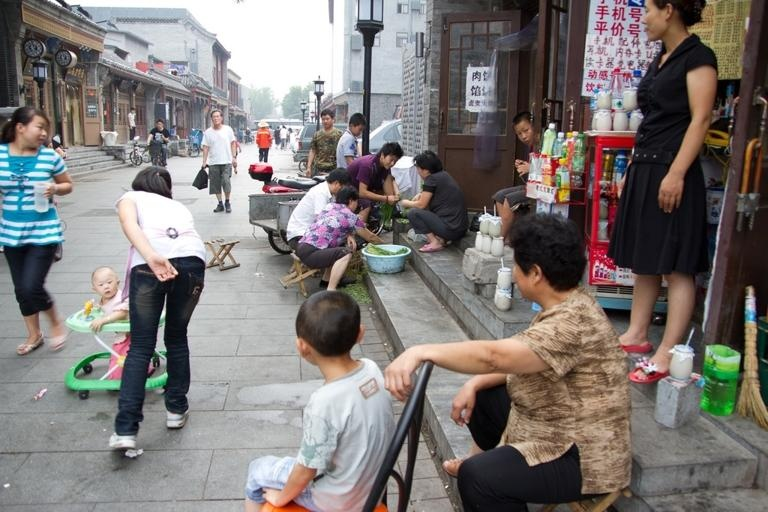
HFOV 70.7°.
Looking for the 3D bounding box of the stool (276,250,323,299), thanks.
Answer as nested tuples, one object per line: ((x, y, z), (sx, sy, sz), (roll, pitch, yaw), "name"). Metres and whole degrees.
((-1.057, 0.240, 6.739), (0.491, 0.525, 0.547), (-1, 25, -17), "stool")

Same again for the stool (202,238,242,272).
((-2.251, -0.007, 7.628), (0.503, 0.444, 0.578), (-3, 8, -34), "stool")

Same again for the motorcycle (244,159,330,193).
((-1.587, -1.177, 8.741), (1.351, 0.750, 0.603), (-5, 22, -13), "motorcycle")

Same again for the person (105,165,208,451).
((-1.557, 0.345, 3.723), (0.531, 1.837, 0.891), (4, 16, 11), "person")

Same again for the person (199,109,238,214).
((-3.234, -1.838, 10.688), (0.584, 2.030, 0.737), (-4, 16, -17), "person")

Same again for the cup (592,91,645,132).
((1.823, -1.110, 4.346), (0.381, 0.303, 0.374), (0, 3, 0), "cup")

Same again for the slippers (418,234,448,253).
((0.529, -0.135, 6.630), (0.453, 0.307, 0.148), (0, 5, -6), "slippers")

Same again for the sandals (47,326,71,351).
((-2.894, 0.760, 4.855), (0.122, 0.135, 0.326), (-7, -8, -33), "sandals")

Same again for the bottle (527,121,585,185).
((1.406, -0.834, 4.496), (0.451, 0.518, 0.448), (9, 17, 26), "bottle")

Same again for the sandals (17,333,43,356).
((-3.128, 0.808, 4.798), (0.103, 0.078, 0.224), (-3, 2, 9), "sandals")

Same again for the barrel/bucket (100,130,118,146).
((-11.741, -5.017, 23.121), (0.786, 0.609, 0.768), (-2, 6, 0), "barrel/bucket")

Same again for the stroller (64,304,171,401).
((-2.235, 0.764, 4.434), (1.005, 0.708, 0.677), (2, 18, -4), "stroller")

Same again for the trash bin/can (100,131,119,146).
((-11.724, -5.024, 23.128), (0.785, 0.609, 0.768), (-1, 5, 22), "trash bin/can")

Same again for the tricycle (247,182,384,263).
((-0.990, -0.596, 7.388), (1.792, 1.009, 0.751), (-13, 21, -36), "tricycle")

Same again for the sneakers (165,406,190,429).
((-1.485, 1.189, 3.919), (0.084, 0.093, 0.208), (1, 5, -3), "sneakers")

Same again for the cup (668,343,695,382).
((1.680, 0.602, 3.059), (0.111, 0.193, 0.137), (10, 18, 30), "cup")

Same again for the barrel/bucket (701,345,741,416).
((1.998, 0.742, 3.206), (0.214, 0.382, 0.221), (1, 15, 0), "barrel/bucket")

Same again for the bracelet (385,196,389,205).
((0.042, -0.830, 7.890), (0.033, 0.087, 0.078), (4, -3, -5), "bracelet")

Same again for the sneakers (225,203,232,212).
((-3.205, -0.989, 11.166), (0.100, 0.211, 0.206), (-4, 20, -14), "sneakers")
